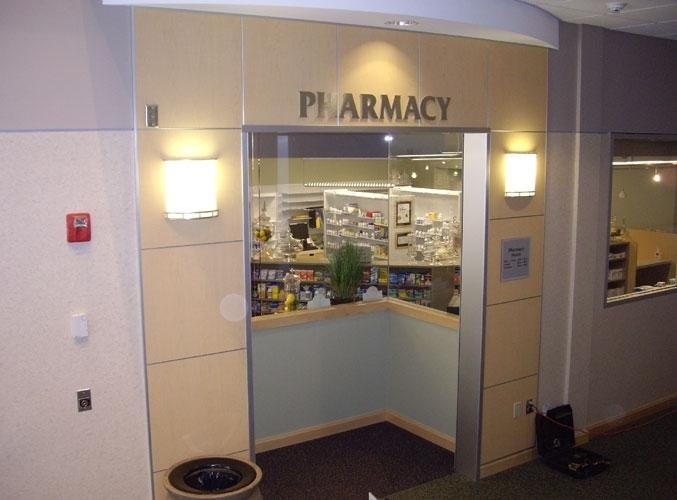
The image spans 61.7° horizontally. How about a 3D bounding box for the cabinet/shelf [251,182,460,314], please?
[{"bbox_3d":[0.313,-0.022,7.323,1.838,1.201,1.814,-2,3,-43],"label":"cabinet/shelf"}]
